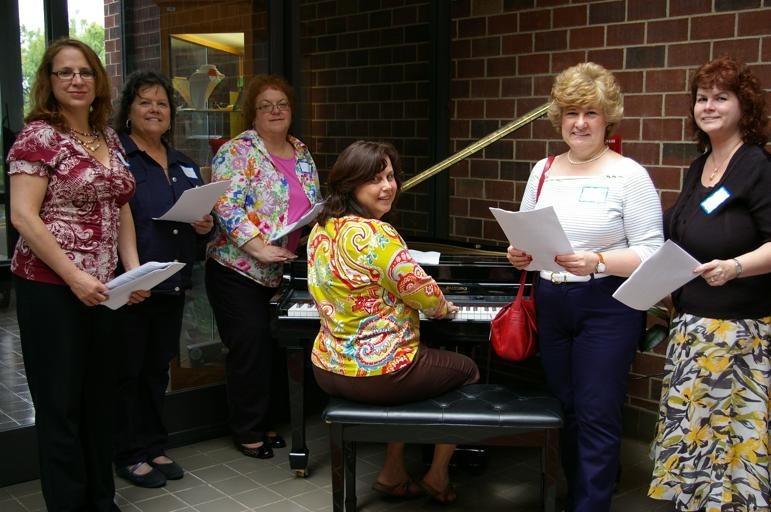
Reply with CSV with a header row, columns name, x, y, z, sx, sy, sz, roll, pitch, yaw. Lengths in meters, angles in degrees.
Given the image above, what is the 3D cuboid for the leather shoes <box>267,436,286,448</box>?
name,x,y,z,sx,sy,sz,roll,pitch,yaw
leather shoes,-0.676,1.145,3.898,0.136,0.056,0.051,8,-2,5

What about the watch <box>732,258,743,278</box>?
name,x,y,z,sx,sy,sz,roll,pitch,yaw
watch,1.491,0.041,2.704,0.023,0.062,0.053,-1,-7,8

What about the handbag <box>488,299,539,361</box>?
name,x,y,z,sx,sy,sz,roll,pitch,yaw
handbag,0.649,0.353,3.111,0.167,0.348,0.340,-4,-7,35

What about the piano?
name,x,y,z,sx,sy,sz,roll,pitch,yaw
piano,0.103,0.587,3.603,1.410,1.079,1.081,0,-6,-5

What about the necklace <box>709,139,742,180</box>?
name,x,y,z,sx,sy,sz,roll,pitch,yaw
necklace,1.534,-0.442,2.879,0.048,0.190,0.105,-1,23,-10

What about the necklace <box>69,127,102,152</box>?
name,x,y,z,sx,sy,sz,roll,pitch,yaw
necklace,-1.364,-0.542,2.897,0.102,0.021,0.078,46,22,4

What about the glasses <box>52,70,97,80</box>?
name,x,y,z,sx,sy,sz,roll,pitch,yaw
glasses,-1.385,-0.807,2.810,0.163,0.050,0.044,-7,14,-26

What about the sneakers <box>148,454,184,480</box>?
name,x,y,z,sx,sy,sz,roll,pitch,yaw
sneakers,-1.234,1.200,3.578,0.091,0.065,0.235,3,7,-44

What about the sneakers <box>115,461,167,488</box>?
name,x,y,z,sx,sy,sz,roll,pitch,yaw
sneakers,-1.340,1.207,3.522,0.295,0.123,0.109,7,3,21

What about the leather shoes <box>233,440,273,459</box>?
name,x,y,z,sx,sy,sz,roll,pitch,yaw
leather shoes,-0.805,1.167,3.861,0.232,0.096,0.088,1,-3,24

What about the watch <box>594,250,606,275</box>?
name,x,y,z,sx,sy,sz,roll,pitch,yaw
watch,0.946,0.036,2.779,0.049,0.082,0.077,-3,25,7

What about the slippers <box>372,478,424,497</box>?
name,x,y,z,sx,sy,sz,roll,pitch,yaw
slippers,0.061,1.235,3.381,0.260,0.106,0.097,4,43,-1
